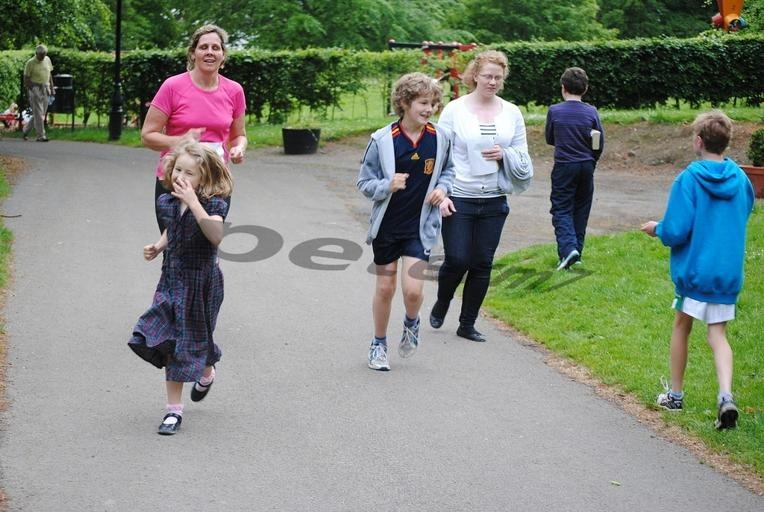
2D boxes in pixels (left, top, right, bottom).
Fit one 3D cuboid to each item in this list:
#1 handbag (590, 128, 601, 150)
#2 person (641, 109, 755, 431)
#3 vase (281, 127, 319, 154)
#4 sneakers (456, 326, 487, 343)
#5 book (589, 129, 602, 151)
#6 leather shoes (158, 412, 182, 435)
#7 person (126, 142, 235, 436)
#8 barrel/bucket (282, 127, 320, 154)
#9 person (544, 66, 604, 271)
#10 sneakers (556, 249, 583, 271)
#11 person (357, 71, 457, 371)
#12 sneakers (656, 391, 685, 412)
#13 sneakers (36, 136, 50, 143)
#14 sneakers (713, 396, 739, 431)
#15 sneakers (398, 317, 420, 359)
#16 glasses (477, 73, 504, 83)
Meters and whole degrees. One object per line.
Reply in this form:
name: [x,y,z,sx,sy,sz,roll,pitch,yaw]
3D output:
handbag: [2.669,-1.472,10.307,0.126,0.302,0.287,0,1,4]
person: [2.699,0.076,6.613,0.721,2.436,0.829,-11,18,-42]
vase: [-2.069,-2.919,20.663,0.784,0.452,0.704,0,7,5]
sneakers: [0.904,0.787,8.423,0.301,0.105,0.121,6,6,42]
book: [2.671,-1.471,10.312,0.127,0.305,0.293,0,0,3]
leather shoes: [-1.643,1.280,6.255,0.094,0.088,0.231,0,-3,-3]
person: [-1.570,0.215,6.369,0.641,2.178,0.822,7,15,22]
barrel/bucket: [-2.089,-2.902,20.680,0.798,0.460,0.716,0,7,5]
person: [2.405,-1.132,10.430,0.707,2.457,0.879,4,14,13]
sneakers: [2.349,0.022,10.339,0.344,0.268,0.213,0,13,-5]
person: [0.204,-0.296,7.431,0.852,2.656,0.559,0,14,-6]
sneakers: [2.441,1.201,6.852,0.104,0.114,0.261,-4,14,-35]
sneakers: [-9.216,-3.153,22.062,0.189,0.165,0.485,-1,0,-44]
sneakers: [2.726,1.221,6.451,0.195,0.271,0.156,2,13,5]
sneakers: [0.249,0.750,7.666,0.155,0.425,0.173,7,-5,10]
glasses: [1.064,-1.744,8.062,0.253,0.078,0.131,1,13,-2]
